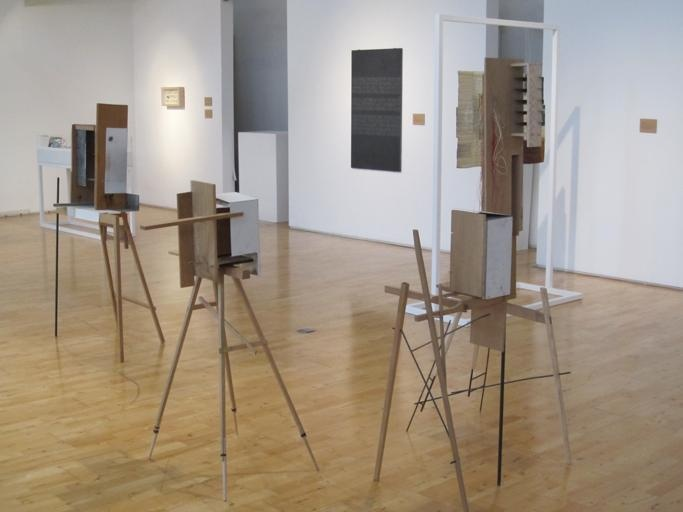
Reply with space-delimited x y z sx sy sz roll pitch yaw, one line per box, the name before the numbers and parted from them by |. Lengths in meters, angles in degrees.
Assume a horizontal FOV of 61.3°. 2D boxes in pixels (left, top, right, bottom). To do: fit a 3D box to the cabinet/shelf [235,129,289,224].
cabinet/shelf | -1.576 -1.593 11.659 1.068 1.760 0.316 5 10 34
